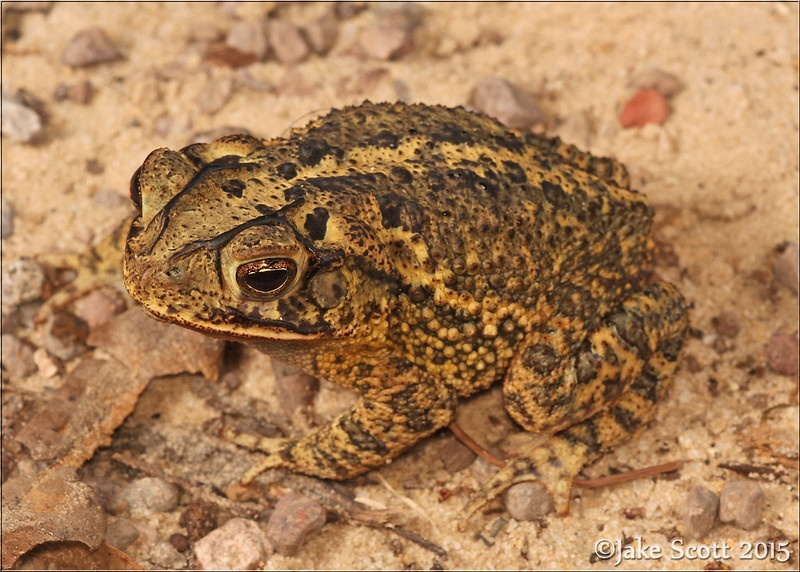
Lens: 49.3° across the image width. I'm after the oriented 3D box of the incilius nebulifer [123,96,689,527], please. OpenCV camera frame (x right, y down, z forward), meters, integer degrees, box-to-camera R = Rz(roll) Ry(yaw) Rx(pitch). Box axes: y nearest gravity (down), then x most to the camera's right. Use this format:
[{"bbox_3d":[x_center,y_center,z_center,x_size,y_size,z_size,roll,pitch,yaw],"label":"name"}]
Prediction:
[{"bbox_3d":[0.129,-0.003,4.986,3.030,1.116,2.180,13,82,2],"label":"incilius nebulifer"}]
